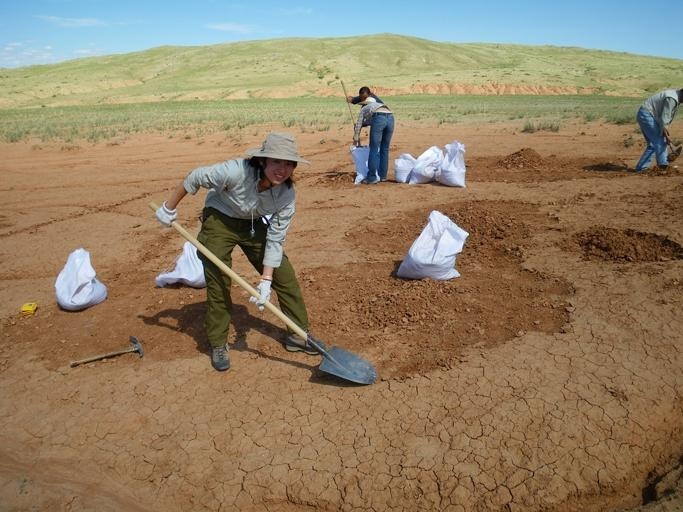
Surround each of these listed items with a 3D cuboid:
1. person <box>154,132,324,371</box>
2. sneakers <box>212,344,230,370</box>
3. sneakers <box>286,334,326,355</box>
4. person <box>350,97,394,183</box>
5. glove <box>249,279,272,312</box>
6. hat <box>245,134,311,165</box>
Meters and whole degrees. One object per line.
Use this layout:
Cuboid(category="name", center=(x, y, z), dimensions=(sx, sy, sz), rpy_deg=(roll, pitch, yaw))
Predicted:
Cuboid(category="person", center=(-0.859, -0.017, 4.274), dimensions=(1.129, 2.172, 0.728), rpy_deg=(-11, 31, -12))
Cuboid(category="sneakers", center=(-1.157, 0.948, 4.459), dimensions=(0.136, 0.108, 0.294), rpy_deg=(-6, 31, -17))
Cuboid(category="sneakers", center=(-0.349, 0.883, 4.637), dimensions=(0.485, 0.147, 0.145), rpy_deg=(1, 11, 4))
Cuboid(category="person", center=(0.673, -2.353, 9.668), dimensions=(0.794, 1.703, 0.596), rpy_deg=(-2, 30, 2))
Cuboid(category="glove", center=(-0.683, 0.329, 4.229), dimensions=(0.133, 0.173, 0.311), rpy_deg=(10, 32, 0))
Cuboid(category="hat", center=(-0.524, -0.885, 3.942), dimensions=(0.430, 0.121, 0.368), rpy_deg=(4, 7, -4))
